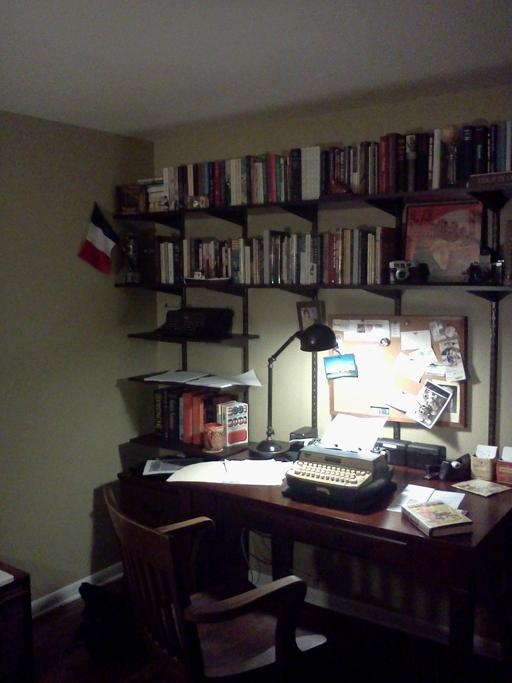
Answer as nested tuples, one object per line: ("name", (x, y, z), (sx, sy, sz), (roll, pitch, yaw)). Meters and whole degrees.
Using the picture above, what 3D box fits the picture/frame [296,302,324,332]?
("picture/frame", (0.255, -0.122, 2.707), (0.054, 0.145, 0.147), (-3, 3, -44))

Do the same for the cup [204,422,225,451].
("cup", (-0.204, 0.467, 2.886), (0.098, 0.123, 0.124), (4, 7, 15))

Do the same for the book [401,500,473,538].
("book", (0.600, 0.573, 1.887), (0.195, 0.041, 0.213), (-3, 3, -9))

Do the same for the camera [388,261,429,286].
("camera", (0.609, -0.247, 2.320), (0.144, 0.095, 0.099), (1, 2, 31))

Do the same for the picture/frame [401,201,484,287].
("picture/frame", (0.766, -0.394, 2.351), (0.378, 0.406, 0.055), (2, 2, 36))
